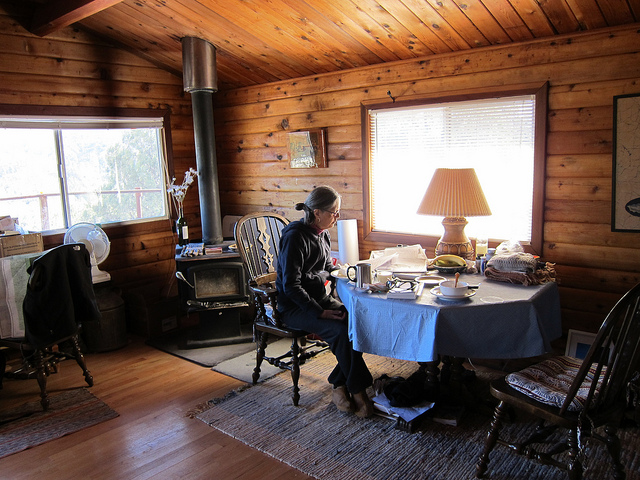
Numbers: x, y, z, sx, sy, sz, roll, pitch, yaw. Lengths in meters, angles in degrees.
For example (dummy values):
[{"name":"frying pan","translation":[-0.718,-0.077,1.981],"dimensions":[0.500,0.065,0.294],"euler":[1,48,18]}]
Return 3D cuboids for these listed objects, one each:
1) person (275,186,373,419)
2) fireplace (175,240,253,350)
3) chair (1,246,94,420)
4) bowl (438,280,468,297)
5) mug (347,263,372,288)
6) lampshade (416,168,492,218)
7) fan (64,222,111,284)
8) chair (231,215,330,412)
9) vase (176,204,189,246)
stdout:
[{"name":"person","translation":[0.008,0.436,3.252],"dimensions":[0.564,1.618,0.508],"euler":[-6,9,-15]},{"name":"fireplace","translation":[-1.124,0.574,4.755],"dimensions":[1.029,0.897,0.996],"euler":[-8,-4,16]},{"name":"chair","translation":[-2.255,0.673,3.745],"dimensions":[0.767,1.220,1.034],"euler":[-8,9,-28]},{"name":"bowl","translation":[0.808,0.291,2.809],"dimensions":[0.117,0.051,0.116],"euler":[-2,5,0]},{"name":"mug","translation":[0.219,0.226,3.059],"dimensions":[0.203,0.169,0.111],"euler":[-4,10,-16]},{"name":"lampshade","translation":[0.978,-0.321,3.450],"dimensions":[0.522,0.307,0.564],"euler":[1,1,-29]},{"name":"fan","translation":[-2.173,0.132,4.372],"dimensions":[0.252,0.607,0.396],"euler":[-2,8,10]},{"name":"chair","translation":[-0.192,0.476,3.719],"dimensions":[0.816,1.298,0.776],"euler":[-8,11,-37]},{"name":"vase","translation":[-1.412,-0.159,4.672],"dimensions":[0.105,0.411,0.259],"euler":[-6,9,-18]}]
